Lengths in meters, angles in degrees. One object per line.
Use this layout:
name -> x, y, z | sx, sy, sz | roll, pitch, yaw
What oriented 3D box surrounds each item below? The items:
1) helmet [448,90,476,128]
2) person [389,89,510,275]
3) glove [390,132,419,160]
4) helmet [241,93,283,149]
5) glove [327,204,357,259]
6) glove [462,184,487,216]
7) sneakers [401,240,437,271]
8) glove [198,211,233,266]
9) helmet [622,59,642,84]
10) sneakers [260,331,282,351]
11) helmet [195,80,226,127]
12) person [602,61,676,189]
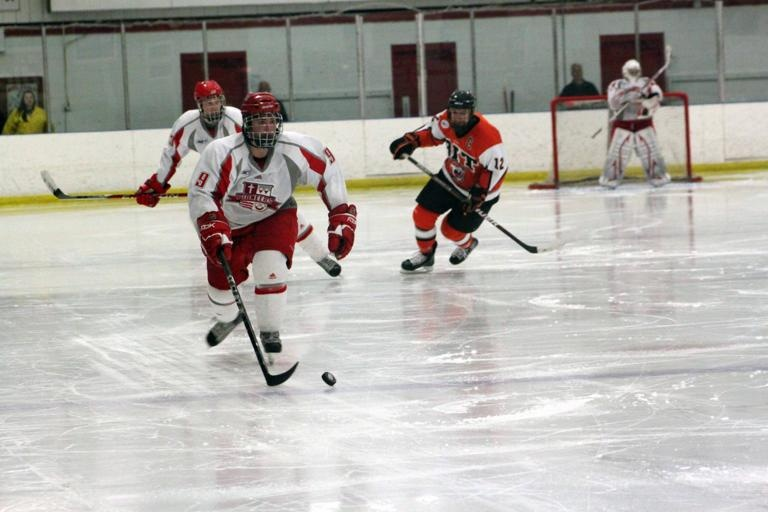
helmet -> 0.483, -0.921, 6.680 | 0.163, 0.228, 0.193 | -4, 9, 3
person -> 0.395, -0.457, 6.951 | 0.928, 1.157, 0.700 | 9, 22, 5
glove -> 0.155, -0.731, 7.073 | 0.161, 0.078, 0.216 | 0, 21, 44
helmet -> -0.603, -0.650, 5.139 | 0.197, 0.272, 0.178 | -4, 9, 4
glove -> -0.212, -0.117, 5.305 | 0.182, 0.251, 0.088 | 5, -17, -1
glove -> 0.585, -0.359, 6.761 | 0.119, 0.168, 0.076 | 25, 1, 34
sneakers -> 0.224, 0.012, 6.759 | 0.123, 0.177, 0.318 | 4, 11, 44
glove -> -0.797, -0.079, 5.065 | 0.168, 0.236, 0.104 | -29, -4, 28
helmet -> 2.570, -1.919, 10.999 | 0.155, 0.205, 0.236 | -3, 8, 8
sneakers -> -0.542, 0.416, 5.078 | 0.059, 0.055, 0.144 | -1, 12, -16
helmet -> -1.163, -1.030, 7.051 | 0.234, 0.270, 0.309 | -15, 24, -19
person -> 2.600, -1.373, 11.137 | 0.714, 1.299, 0.383 | -3, 10, 10
